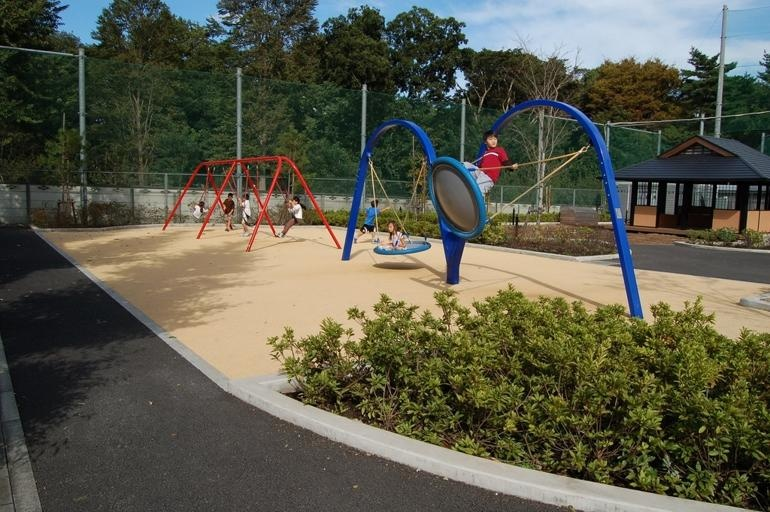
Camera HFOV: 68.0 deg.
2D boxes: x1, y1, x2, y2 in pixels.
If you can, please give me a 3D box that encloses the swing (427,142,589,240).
[{"bbox_3d":[2.931,-1.719,12.784,3.486,1.830,1.925,-18,32,-14],"label":"swing"}]
